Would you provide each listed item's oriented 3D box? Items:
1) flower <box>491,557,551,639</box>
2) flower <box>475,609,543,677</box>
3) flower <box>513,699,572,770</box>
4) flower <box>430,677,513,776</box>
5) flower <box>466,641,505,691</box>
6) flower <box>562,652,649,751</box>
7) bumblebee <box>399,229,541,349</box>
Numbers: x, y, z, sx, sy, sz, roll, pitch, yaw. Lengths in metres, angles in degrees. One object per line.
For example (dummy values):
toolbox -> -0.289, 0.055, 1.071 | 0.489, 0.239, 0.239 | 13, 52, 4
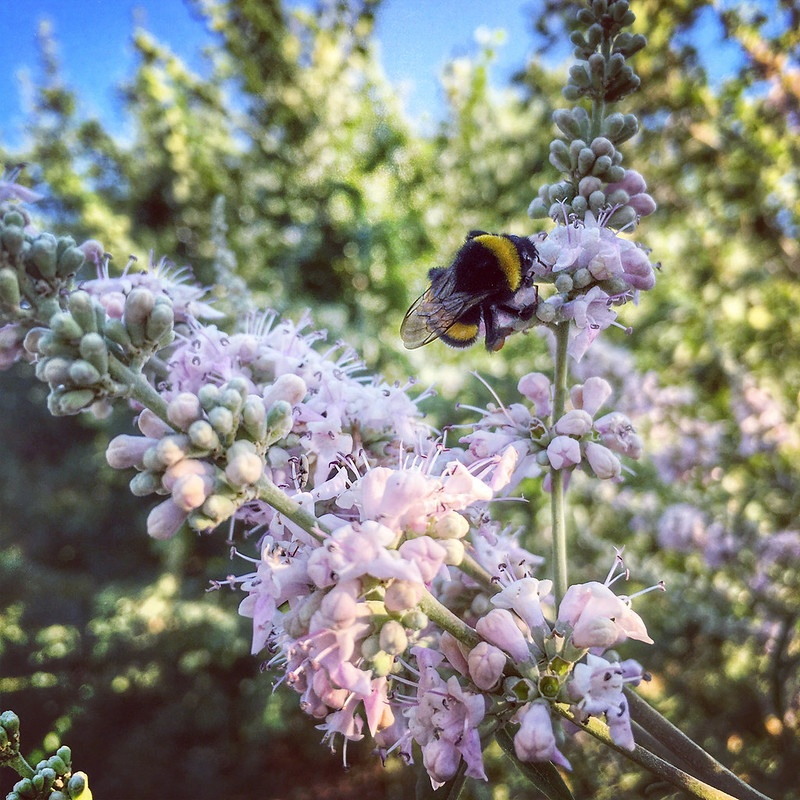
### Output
flower -> 0.435, 0.745, 4.277 | 0.253, 0.190, 0.156 | 52, -6, 48
flower -> 0.386, 0.864, 4.158 | 0.286, 0.159, 0.124 | 46, -2, 6
flower -> 0.488, 1.177, 4.045 | 0.173, 0.126, 0.305 | 15, 18, 0
flower -> 0.203, 1.176, 4.088 | 0.143, 0.307, 0.363 | 17, -39, -37
flower -> 0.303, 0.938, 4.074 | 0.152, 0.149, 0.153 | -2, 3, 33
flower -> 0.768, 1.081, 4.122 | 0.283, 0.219, 0.398 | 15, -11, 29
bumblebee -> 0.293, -0.395, 4.484 | 0.189, 0.632, 0.384 | 61, -1, -30
